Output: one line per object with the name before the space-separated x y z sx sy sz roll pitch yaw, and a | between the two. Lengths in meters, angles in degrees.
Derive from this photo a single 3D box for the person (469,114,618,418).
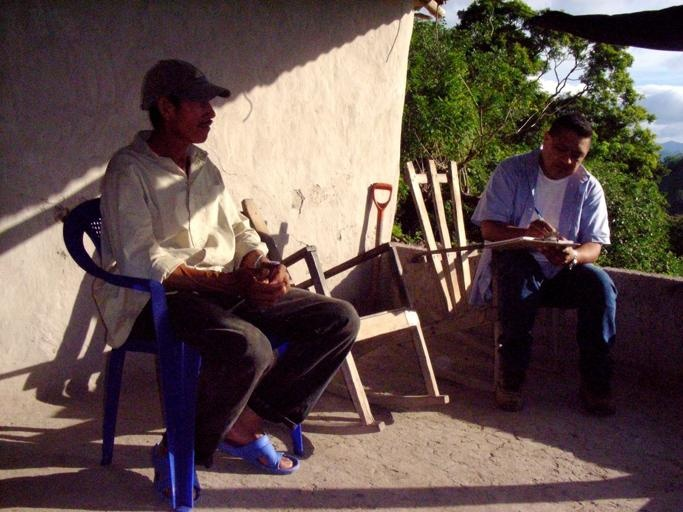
person | 1.452 0.021 4.099 1.009 2.044 0.693 3 8 3

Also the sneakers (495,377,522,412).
sneakers | 1.157 0.932 4.050 0.189 0.220 0.204 2 3 38

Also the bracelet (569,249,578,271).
bracelet | 1.594 0.034 4.036 0.030 0.095 0.081 33 33 18

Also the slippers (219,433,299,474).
slippers | -0.447 1.055 3.081 0.358 0.158 0.132 19 31 10

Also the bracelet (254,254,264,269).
bracelet | -0.467 0.033 3.314 0.028 0.038 0.092 5 51 2

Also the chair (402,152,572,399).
chair | 1.224 -0.087 5.255 1.193 2.126 1.605 -4 3 -37

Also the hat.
hat | -0.838 -0.896 3.119 0.362 0.202 0.252 -13 11 5
